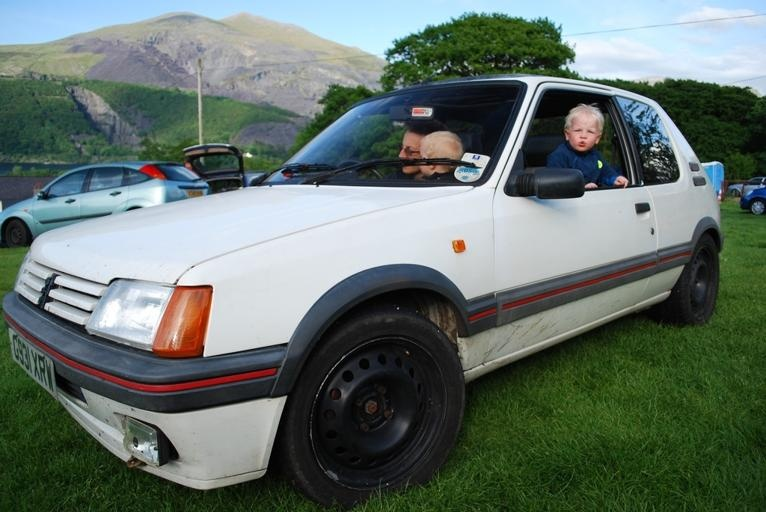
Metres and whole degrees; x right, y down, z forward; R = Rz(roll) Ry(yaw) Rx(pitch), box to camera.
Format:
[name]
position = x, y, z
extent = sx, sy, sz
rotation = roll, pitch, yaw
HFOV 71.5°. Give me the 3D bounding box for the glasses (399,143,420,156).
[glasses]
position = 0.159, -0.682, 3.461
extent = 0.102, 0.031, 0.095
rotation = 24, -4, -36
